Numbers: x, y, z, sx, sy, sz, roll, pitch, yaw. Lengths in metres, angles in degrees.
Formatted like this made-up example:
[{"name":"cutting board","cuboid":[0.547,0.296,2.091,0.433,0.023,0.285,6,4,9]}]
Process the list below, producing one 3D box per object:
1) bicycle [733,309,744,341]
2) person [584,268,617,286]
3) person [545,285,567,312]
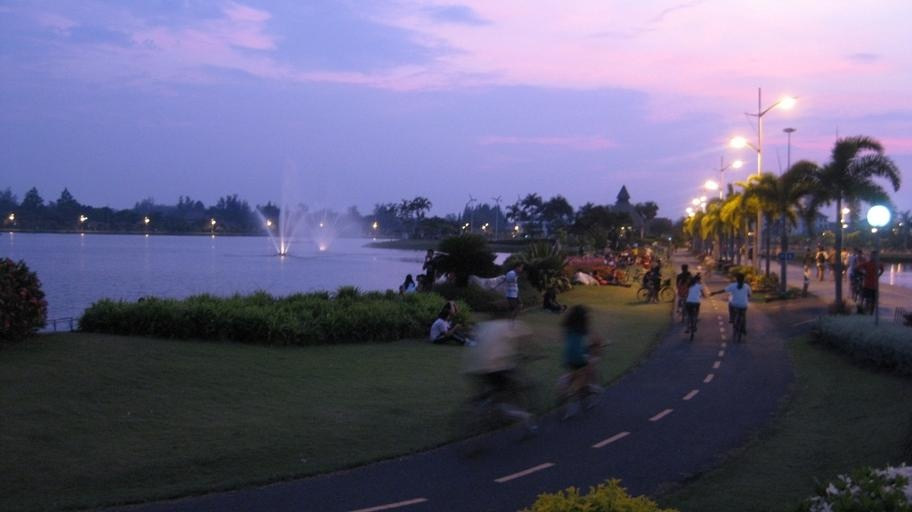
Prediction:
[{"name":"bicycle","cuboid":[11.705,2.797,29.203,0.420,1.320,0.922,1,2,21]},{"name":"person","cuboid":[10.415,1.500,49.806,1.429,0.634,1.109,17,-13,45]},{"name":"person","cuboid":[5.192,2.376,36.836,1.221,1.228,1.115,-6,13,-7]}]
